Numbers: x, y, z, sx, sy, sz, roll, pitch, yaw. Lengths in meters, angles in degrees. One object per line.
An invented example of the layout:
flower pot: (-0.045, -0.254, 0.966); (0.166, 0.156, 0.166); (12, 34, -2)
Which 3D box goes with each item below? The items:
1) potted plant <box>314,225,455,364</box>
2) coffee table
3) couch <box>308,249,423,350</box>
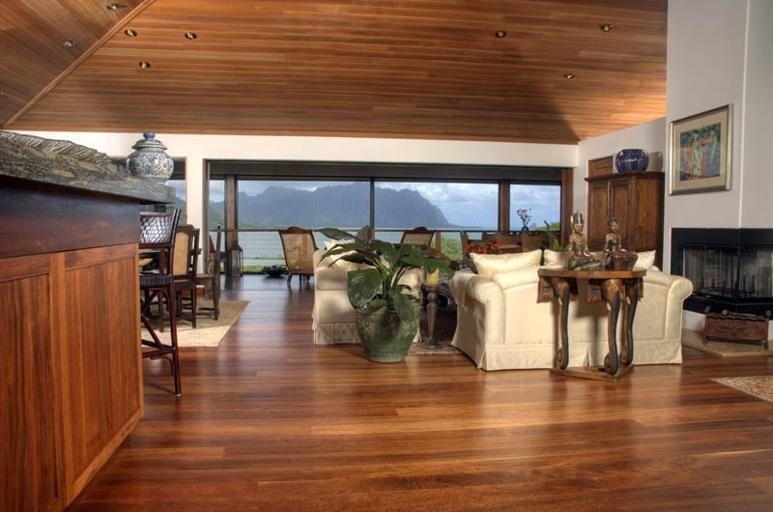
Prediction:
potted plant: (-0.051, 0.320, 5.055); (1.201, 0.993, 1.229); (1, -3, -6)
coffee table: (1.662, 0.491, 4.726); (0.906, 0.906, 0.899); (0, 0, -14)
couch: (-0.280, 0.397, 5.516); (0.922, 0.773, 0.889); (0, 3, -6)
